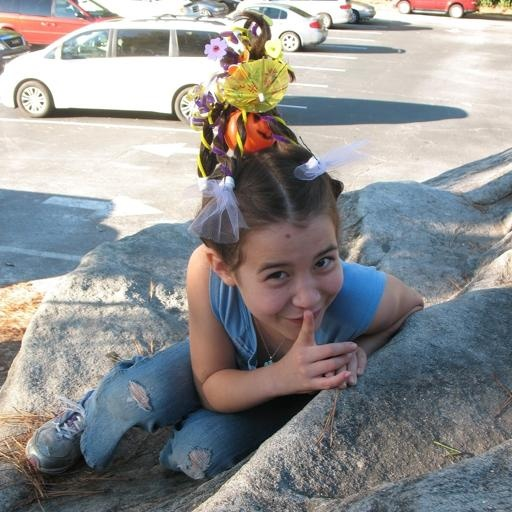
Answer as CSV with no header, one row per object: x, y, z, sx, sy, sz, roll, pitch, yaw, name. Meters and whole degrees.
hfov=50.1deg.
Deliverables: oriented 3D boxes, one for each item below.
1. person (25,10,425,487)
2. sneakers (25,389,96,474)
-0.091,0.044,1.827,1.200,1.181,0.847,-7,-11,17,person
-0.653,0.603,1.898,0.146,0.144,0.350,34,16,2,sneakers
